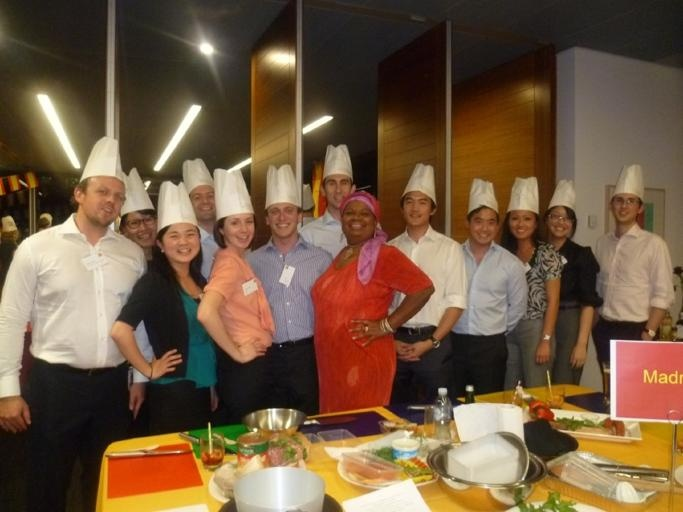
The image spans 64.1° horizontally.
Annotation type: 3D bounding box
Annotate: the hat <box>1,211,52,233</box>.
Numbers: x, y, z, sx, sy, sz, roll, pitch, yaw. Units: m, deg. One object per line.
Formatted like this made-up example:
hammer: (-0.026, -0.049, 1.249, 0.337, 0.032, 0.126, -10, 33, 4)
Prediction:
hat: (-2.304, -0.232, 3.991, 0.339, 0.144, 0.079, -5, 6, -29)

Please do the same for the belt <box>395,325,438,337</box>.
belt: (0.495, 0.505, 3.649, 0.264, 0.071, 0.056, -1, 5, 14)

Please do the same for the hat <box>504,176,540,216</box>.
hat: (1.422, -0.454, 4.361, 0.220, 0.318, 0.293, -1, -15, 31)

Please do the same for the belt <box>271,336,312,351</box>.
belt: (-0.313, 0.552, 3.418, 0.247, 0.058, 0.039, -3, 5, -17)

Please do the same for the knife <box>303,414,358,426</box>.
knife: (-0.049, 0.807, 2.680, 0.256, 0.025, 0.054, -2, 11, -8)

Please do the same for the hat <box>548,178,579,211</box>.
hat: (1.835, -0.494, 4.440, 0.208, 0.292, 0.252, 6, 6, -15)

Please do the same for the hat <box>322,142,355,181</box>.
hat: (-0.022, -0.743, 4.276, 0.199, 0.269, 0.274, 1, -13, 0)

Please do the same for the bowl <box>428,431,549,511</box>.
bowl: (0.564, 0.822, 2.124, 0.304, 0.145, 0.323, -2, 19, 1)

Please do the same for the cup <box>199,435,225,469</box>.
cup: (-0.553, 0.838, 2.335, 0.112, 0.140, 0.121, 0, -7, 0)

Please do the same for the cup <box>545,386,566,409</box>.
cup: (1.147, 0.735, 2.872, 0.112, 0.139, 0.115, -4, 1, 0)

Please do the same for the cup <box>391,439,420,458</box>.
cup: (0.272, 0.824, 2.336, 0.078, 0.068, 0.079, -6, 0, 0)

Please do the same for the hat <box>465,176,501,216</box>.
hat: (1.055, -0.445, 4.099, 0.201, 0.269, 0.253, -1, 5, 13)

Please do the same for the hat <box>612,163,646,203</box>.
hat: (2.343, -0.594, 4.562, 0.313, 0.341, 0.254, 5, -1, -33)

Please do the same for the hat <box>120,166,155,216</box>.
hat: (-1.406, -0.440, 3.734, 0.212, 0.324, 0.141, -6, 6, -40)
